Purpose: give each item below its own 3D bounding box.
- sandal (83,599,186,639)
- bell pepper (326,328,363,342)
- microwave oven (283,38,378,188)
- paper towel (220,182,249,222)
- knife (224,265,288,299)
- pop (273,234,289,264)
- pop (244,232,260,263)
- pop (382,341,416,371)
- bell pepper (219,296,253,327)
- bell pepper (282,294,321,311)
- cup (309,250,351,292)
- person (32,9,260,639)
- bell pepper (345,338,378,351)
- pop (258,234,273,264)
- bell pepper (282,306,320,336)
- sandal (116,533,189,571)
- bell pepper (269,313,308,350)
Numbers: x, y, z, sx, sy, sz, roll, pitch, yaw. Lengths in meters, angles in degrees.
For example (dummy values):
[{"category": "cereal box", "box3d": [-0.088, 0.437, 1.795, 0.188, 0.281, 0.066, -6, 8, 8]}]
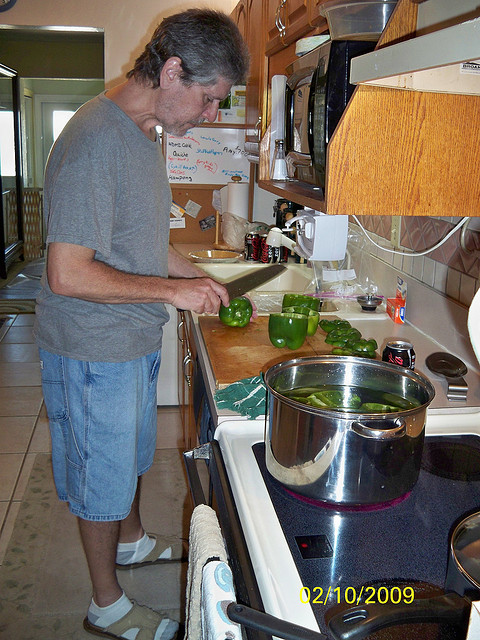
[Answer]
[{"category": "sandal", "box3d": [-0.368, 0.992, 1.632, 0.294, 0.106, 0.129, -3, 15, -11]}, {"category": "bell pepper", "box3d": [0.326, 0.049, 1.576, 0.057, 0.028, 0.071, -4, 3, 28]}, {"category": "microwave oven", "box3d": [0.148, -0.470, 1.179, 0.188, 0.446, 0.244, -1, 15, -10]}, {"category": "paper towel", "box3d": [-0.051, -0.805, 3.372, 0.209, 0.229, 0.188, 2, 15, 9]}, {"category": "knife", "box3d": [0.075, -0.161, 1.866, 0.079, 0.038, 0.474, 42, 35, 17]}, {"category": "pop", "box3d": [0.219, -0.358, 2.692, 0.078, 0.102, 0.242, 2, 15, 5]}, {"category": "pop", "box3d": [0.065, -0.396, 2.722, 0.080, 0.151, 0.199, 0, 15, 0]}, {"category": "pop", "box3d": [0.376, 0.088, 1.178, 0.067, 0.106, 0.068, 2, 12, 4]}, {"category": "bell pepper", "box3d": [-0.015, -0.027, 1.763, 0.110, 0.099, 0.112, -21, 33, 5]}, {"category": "bell pepper", "box3d": [0.219, -0.065, 1.789, 0.095, 0.059, 0.069, 4, 10, 2]}, {"category": "cup", "box3d": [0.384, -0.189, 2.115, 0.166, 0.157, 0.503, 3, 15, 11]}, {"category": "person", "box3d": [-0.289, 0.109, 1.484, 0.538, 1.891, 0.321, -9, 18, -31]}, {"category": "bell pepper", "box3d": [0.344, 0.069, 1.453, 0.059, 0.023, 0.045, 0, 3, 29]}, {"category": "pop", "box3d": [0.135, -0.372, 2.633, 0.078, 0.147, 0.147, 1, 15, 2]}, {"category": "bell pepper", "box3d": [0.211, 0.002, 1.667, 0.093, 0.078, 0.113, 3, 9, -3]}, {"category": "sandal", "box3d": [-0.351, 0.910, 1.997, 0.278, 0.092, 0.142, -2, 15, -9]}, {"category": "bell pepper", "box3d": [0.148, 0.037, 1.518, 0.105, 0.090, 0.116, 2, 2, -2]}]
